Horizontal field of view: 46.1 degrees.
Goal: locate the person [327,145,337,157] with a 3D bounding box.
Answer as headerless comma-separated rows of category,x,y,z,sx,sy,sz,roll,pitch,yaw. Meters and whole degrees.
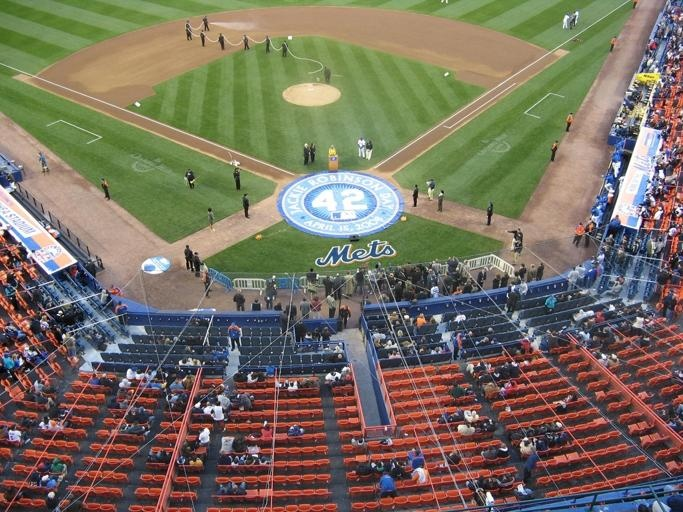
person,-0.773,-8.025,61.083,0.851,1.113,0.360,-1,-55,0
